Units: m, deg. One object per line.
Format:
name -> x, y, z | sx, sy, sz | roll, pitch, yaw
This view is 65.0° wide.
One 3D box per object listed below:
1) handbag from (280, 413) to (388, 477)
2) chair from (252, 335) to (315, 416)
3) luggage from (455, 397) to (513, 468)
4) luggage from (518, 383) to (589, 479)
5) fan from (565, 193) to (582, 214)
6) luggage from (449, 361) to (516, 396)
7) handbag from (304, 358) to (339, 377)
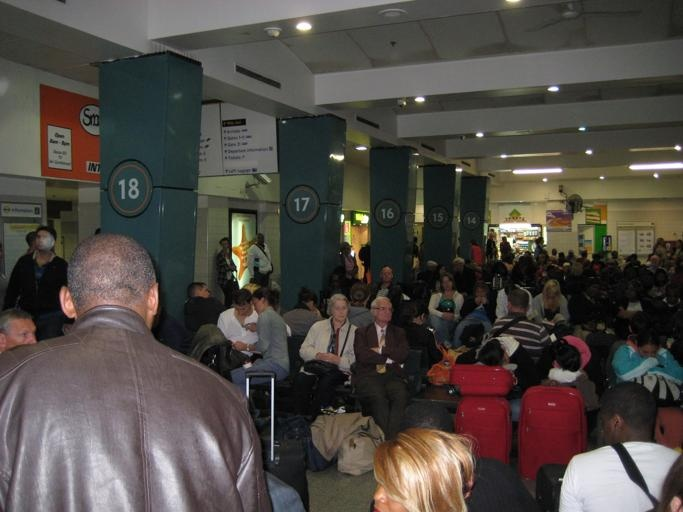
handbag -> -0.016, 1.670, 4.816 | 0.589, 0.418, 0.811 | 7, 3, -30
chair -> -0.825, 1.305, 5.975 | 0.558, 0.768, 0.586 | -14, 9, -6
luggage -> 1.230, 1.446, 4.771 | 0.534, 0.841, 0.433 | 0, 27, 12
luggage -> 1.783, 1.471, 4.584 | 0.526, 0.842, 0.368 | -1, 11, 21
fan -> 11.003, -2.508, 25.656 | 0.702, 1.040, 0.996 | -2, -5, 39
luggage -> 1.195, 1.072, 4.624 | 0.376, 0.425, 0.298 | -2, -4, 10
handbag -> -0.213, 1.208, 5.710 | 0.189, 0.096, 0.249 | -4, -15, 44
